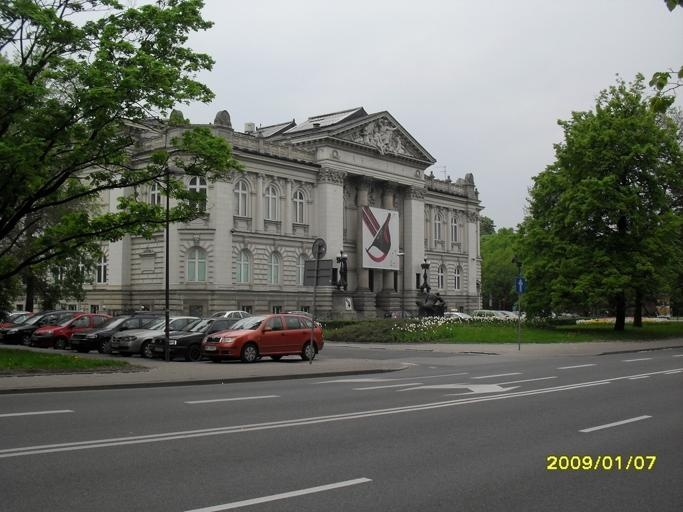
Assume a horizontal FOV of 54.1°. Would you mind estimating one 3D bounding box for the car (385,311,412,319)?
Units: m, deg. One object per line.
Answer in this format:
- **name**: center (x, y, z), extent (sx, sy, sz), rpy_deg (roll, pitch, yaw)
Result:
- **car**: center (5.950, 6.043, 69.589), extent (1.333, 0.778, 5.983), rpy_deg (-4, -8, 25)
